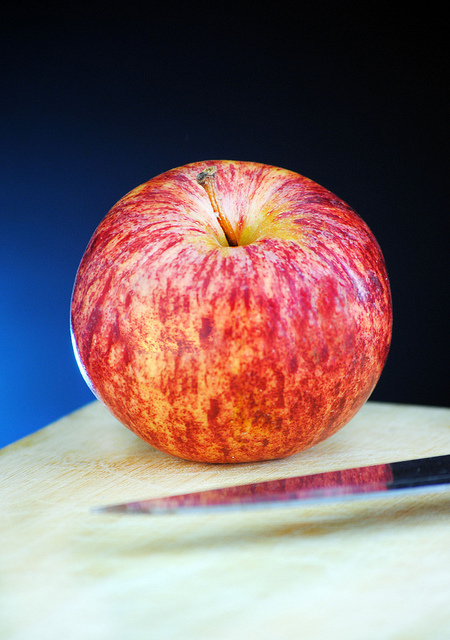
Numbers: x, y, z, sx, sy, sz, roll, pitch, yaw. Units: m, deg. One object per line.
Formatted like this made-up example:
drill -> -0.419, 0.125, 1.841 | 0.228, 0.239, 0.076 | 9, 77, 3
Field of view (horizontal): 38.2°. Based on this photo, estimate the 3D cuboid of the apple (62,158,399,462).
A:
apple -> 0.010, -0.011, 0.553 | 0.257, 0.177, 0.246 | -1, 36, -2
